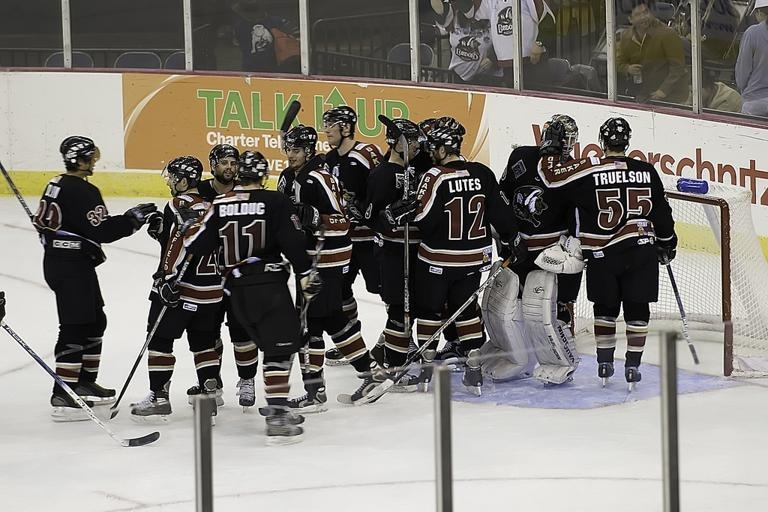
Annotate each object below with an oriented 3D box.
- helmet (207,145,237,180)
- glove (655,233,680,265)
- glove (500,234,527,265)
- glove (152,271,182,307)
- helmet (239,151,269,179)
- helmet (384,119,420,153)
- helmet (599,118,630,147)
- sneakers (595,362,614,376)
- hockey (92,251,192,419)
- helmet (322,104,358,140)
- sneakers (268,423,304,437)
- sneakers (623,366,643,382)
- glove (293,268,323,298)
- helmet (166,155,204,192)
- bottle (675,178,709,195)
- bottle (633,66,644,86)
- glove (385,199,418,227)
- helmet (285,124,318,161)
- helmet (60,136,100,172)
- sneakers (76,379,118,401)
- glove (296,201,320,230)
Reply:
[{"bbox_3d":[-1.192,-0.709,6.940,0.286,0.244,0.228,-3,5,29],"label":"helmet"},{"bbox_3d":[2.086,-0.050,6.890,0.187,0.233,0.095,-2,7,7],"label":"glove"},{"bbox_3d":[0.964,-0.052,6.888,0.178,0.221,0.241,-1,7,7],"label":"glove"},{"bbox_3d":[-1.502,0.231,6.463,0.196,0.222,0.093,22,-38,-37],"label":"glove"},{"bbox_3d":[-0.855,-0.604,6.238,0.166,0.165,0.200,4,11,1],"label":"helmet"},{"bbox_3d":[0.126,-0.900,6.949,0.291,0.246,0.220,2,15,17],"label":"helmet"},{"bbox_3d":[1.734,-0.911,6.878,0.214,0.210,0.227,4,21,1],"label":"helmet"},{"bbox_3d":[1.580,0.805,6.637,0.105,0.107,0.092,0,7,9],"label":"sneakers"},{"bbox_3d":[-1.861,0.645,7.176,0.185,1.220,0.135,14,-15,30],"label":"hockey"},{"bbox_3d":[-0.372,-1.021,7.145,0.264,0.290,0.324,5,5,30],"label":"helmet"},{"bbox_3d":[-0.586,1.025,5.486,0.240,0.097,0.081,-1,32,5],"label":"sneakers"},{"bbox_3d":[1.709,0.801,6.394,0.100,0.107,0.287,0,7,14],"label":"sneakers"},{"bbox_3d":[-0.503,0.177,6.199,0.199,0.186,0.150,23,5,18],"label":"glove"},{"bbox_3d":[-1.454,-0.582,6.799,0.235,0.276,0.244,-3,7,-13],"label":"helmet"},{"bbox_3d":[2.439,-0.546,7.383,0.146,0.073,0.230,10,5,-37],"label":"bottle"},{"bbox_3d":[2.758,-1.944,10.141,0.119,0.183,0.029,4,9,36],"label":"bottle"},{"bbox_3d":[0.126,-0.302,6.628,0.232,0.196,0.074,-1,7,1],"label":"glove"},{"bbox_3d":[-0.622,-0.877,7.043,0.282,0.244,0.215,0,6,-2],"label":"helmet"},{"bbox_3d":[-2.239,-0.724,6.817,0.310,0.263,0.232,-15,22,-35],"label":"helmet"},{"bbox_3d":[-2.111,0.989,6.896,0.330,0.139,0.111,1,2,-13],"label":"sneakers"},{"bbox_3d":[-0.539,-0.266,6.653,0.172,0.203,0.261,-2,7,-4],"label":"glove"}]
